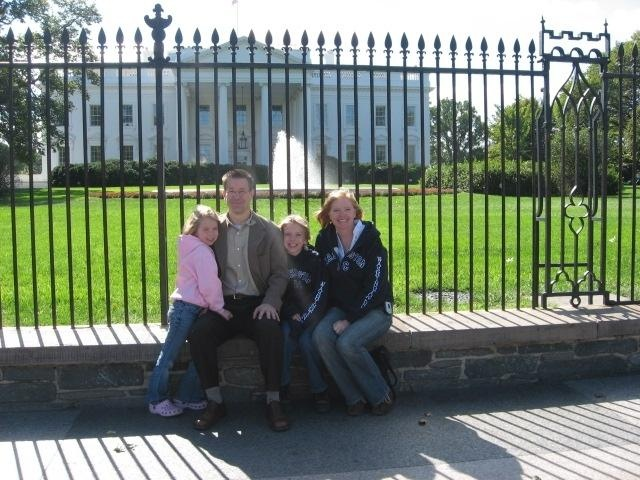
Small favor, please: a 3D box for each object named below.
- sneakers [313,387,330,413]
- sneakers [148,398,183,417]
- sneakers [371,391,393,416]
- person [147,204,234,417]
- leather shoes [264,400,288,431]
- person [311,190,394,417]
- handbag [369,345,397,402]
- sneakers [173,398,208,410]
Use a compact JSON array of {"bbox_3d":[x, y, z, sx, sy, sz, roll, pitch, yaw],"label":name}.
[{"bbox_3d":[0.012,1.457,6.505,0.155,0.192,0.130,-2,4,-7],"label":"sneakers"},{"bbox_3d":[-1.376,1.509,6.447,0.233,0.114,0.147,2,3,6],"label":"sneakers"},{"bbox_3d":[0.570,1.497,6.484,0.106,0.144,0.265,-2,-11,31],"label":"sneakers"},{"bbox_3d":[-1.193,0.639,6.459,0.753,1.851,0.312,-3,4,-18],"label":"person"},{"bbox_3d":[-0.374,1.517,6.278,0.168,0.191,0.422,1,11,-18],"label":"leather shoes"},{"bbox_3d":[0.304,0.536,6.631,0.708,1.984,0.656,-1,4,5],"label":"person"},{"bbox_3d":[0.559,1.218,6.514,0.324,0.355,0.238,-34,8,-39],"label":"handbag"},{"bbox_3d":[-1.163,1.501,6.481,0.308,0.162,0.123,-1,2,0],"label":"sneakers"}]
